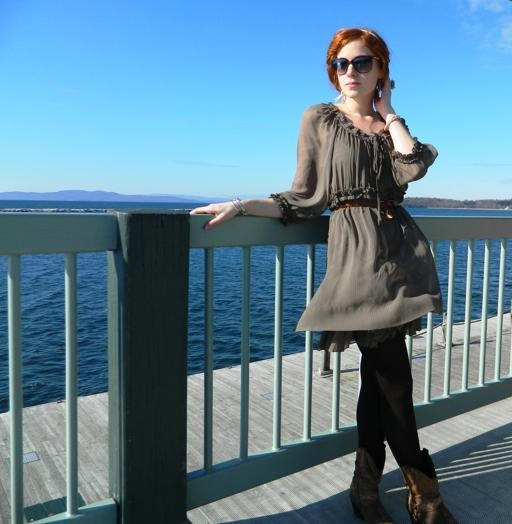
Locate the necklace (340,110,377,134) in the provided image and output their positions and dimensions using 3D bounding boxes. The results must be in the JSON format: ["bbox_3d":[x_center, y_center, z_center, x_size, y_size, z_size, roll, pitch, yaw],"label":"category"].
[{"bbox_3d":[0.401,-0.544,1.863,0.140,0.084,0.050,38,-3,32],"label":"necklace"}]

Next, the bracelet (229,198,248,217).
[{"bbox_3d":[-0.058,-0.185,1.662,0.024,0.044,0.057,-20,27,-21],"label":"bracelet"}]

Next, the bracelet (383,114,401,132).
[{"bbox_3d":[0.501,-0.505,1.763,0.057,0.067,0.023,4,8,-7],"label":"bracelet"}]
